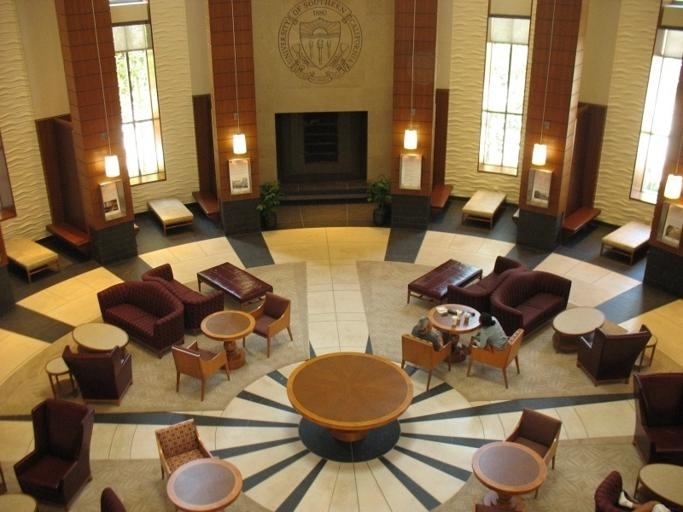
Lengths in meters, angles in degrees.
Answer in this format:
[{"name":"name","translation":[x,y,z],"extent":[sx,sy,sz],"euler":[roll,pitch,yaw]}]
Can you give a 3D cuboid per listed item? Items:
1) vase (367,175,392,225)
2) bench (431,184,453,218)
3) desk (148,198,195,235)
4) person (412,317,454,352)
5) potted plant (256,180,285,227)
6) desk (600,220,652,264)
[{"name":"vase","translation":[1.297,-1.796,17.167],"extent":[0.748,1.295,0.934],"euler":[1,26,3]},{"name":"bench","translation":[3.548,-1.981,18.070],"extent":[0.679,0.645,1.778],"euler":[4,25,11]},{"name":"desk","translation":[-5.633,-1.331,16.965],"extent":[0.992,0.670,1.476],"euler":[-16,29,-29]},{"name":"person","translation":[1.911,1.633,10.587],"extent":[0.430,0.752,0.318],"euler":[-40,52,-18]},{"name":"potted plant","translation":[-2.494,-1.759,16.881],"extent":[0.810,1.324,0.749],"euler":[-17,21,-39]},{"name":"desk","translation":[8.715,-0.445,15.362],"extent":[1.597,0.693,1.006],"euler":[-23,34,-24]}]
